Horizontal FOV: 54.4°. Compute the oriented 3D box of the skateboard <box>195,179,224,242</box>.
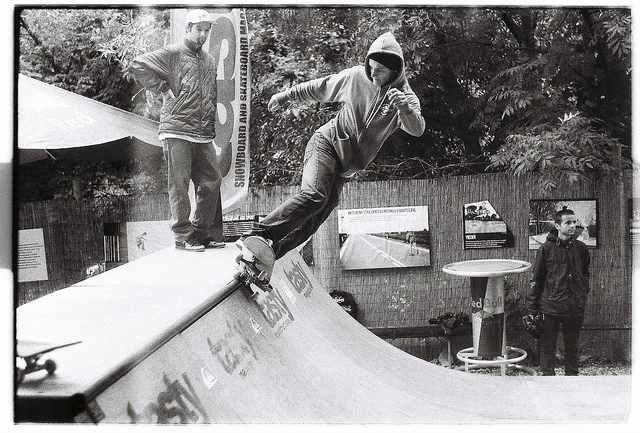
[{"bbox_3d":[-1.377,-0.052,7.623,0.269,0.052,1.245,-13,46,-9],"label":"skateboard"}]

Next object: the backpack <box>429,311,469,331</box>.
[{"bbox_3d":[1.504,1.220,7.307,0.325,0.198,0.200,-1,-1,11],"label":"backpack"}]
